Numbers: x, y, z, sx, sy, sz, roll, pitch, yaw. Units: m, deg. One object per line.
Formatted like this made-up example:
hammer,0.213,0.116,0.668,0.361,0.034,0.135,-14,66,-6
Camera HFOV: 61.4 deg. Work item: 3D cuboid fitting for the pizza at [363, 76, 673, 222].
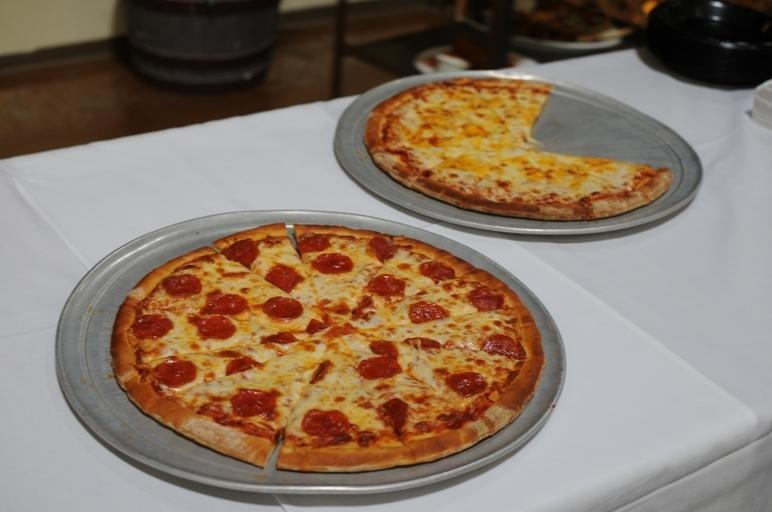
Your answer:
pizza,0.204,-0.171,1.145,0.412,0.043,0.376,16,30,28

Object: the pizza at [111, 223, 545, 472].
pizza,-0.065,0.097,0.803,0.483,0.063,0.397,22,49,17
